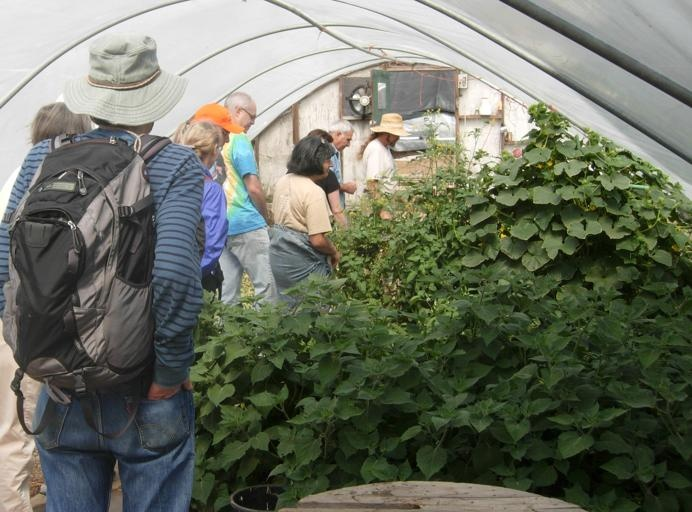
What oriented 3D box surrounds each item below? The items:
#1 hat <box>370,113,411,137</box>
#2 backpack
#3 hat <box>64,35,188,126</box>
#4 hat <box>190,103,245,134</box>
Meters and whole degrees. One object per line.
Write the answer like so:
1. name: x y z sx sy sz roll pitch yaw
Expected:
1. hat: 0.531 -1.493 8.669 0.437 0.221 0.411 -9 21 -36
2. backpack: -1.165 0.036 3.301 0.644 1.110 0.326 2 -15 -14
3. hat: -1.023 -0.791 3.564 0.461 0.476 0.238 5 -42 4
4. hat: -1.134 -1.171 6.395 0.467 0.238 0.297 11 14 -32
